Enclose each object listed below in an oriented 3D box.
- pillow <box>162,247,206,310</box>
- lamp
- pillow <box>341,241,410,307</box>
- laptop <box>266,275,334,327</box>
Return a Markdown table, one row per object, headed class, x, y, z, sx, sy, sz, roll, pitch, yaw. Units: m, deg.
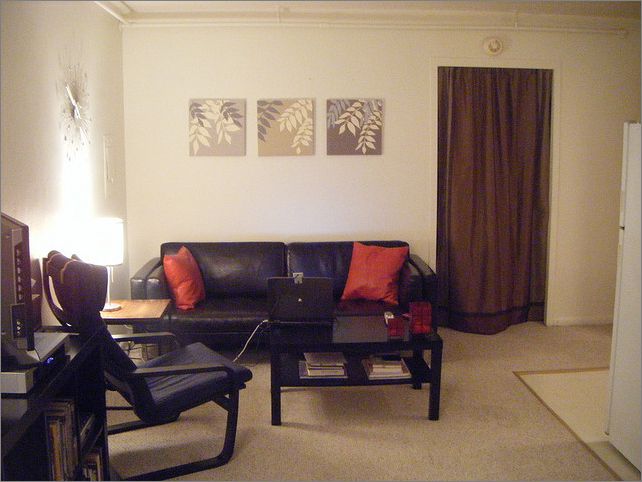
| class | x | y | z | sx | sy | sz | roll | pitch | yaw |
| --- | --- | --- | --- | --- | --- | --- | --- | --- | --- |
| pillow | -1.160 | 0.339 | 4.485 | 0.221 | 0.359 | 0.432 | 3 | 19 | 9 |
| lamp | -1.721 | 0.206 | 4.253 | 0.257 | 0.681 | 0.222 | -3 | 1 | -26 |
| pillow | 0.477 | 0.279 | 4.688 | 0.501 | 0.490 | 0.413 | 0 | 11 | 24 |
| laptop | -0.137 | 0.427 | 3.916 | 0.476 | 0.329 | 0.344 | 0 | 0 | 2 |
